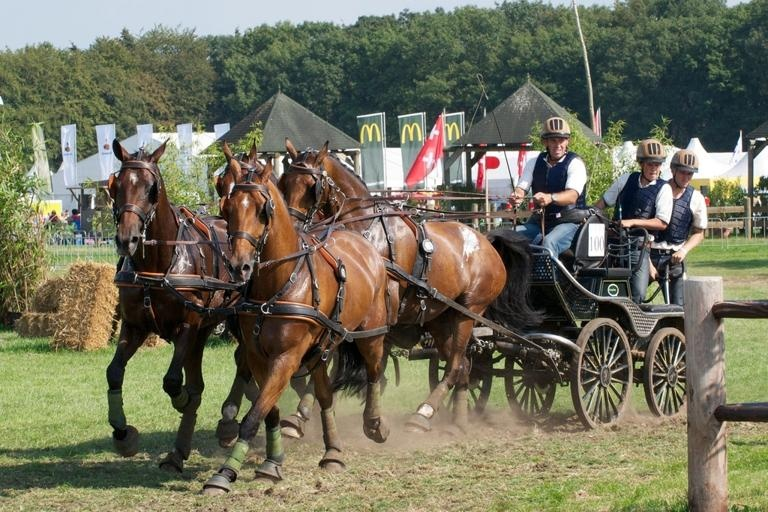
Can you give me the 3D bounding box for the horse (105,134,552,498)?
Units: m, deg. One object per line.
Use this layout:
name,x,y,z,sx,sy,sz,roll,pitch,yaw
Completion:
horse,-1.387,1.337,30.813,8.813,7.352,2.264,1,5,-21

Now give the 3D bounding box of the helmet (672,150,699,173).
helmet,7.144,-2.226,32.899,0.436,0.344,0.608,7,5,-15

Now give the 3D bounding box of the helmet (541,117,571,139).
helmet,4.020,-2.984,32.358,0.681,0.470,0.488,2,4,-18

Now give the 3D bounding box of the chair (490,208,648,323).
chair,4.575,0.350,33.281,3.315,3.173,2.157,4,-6,-24
